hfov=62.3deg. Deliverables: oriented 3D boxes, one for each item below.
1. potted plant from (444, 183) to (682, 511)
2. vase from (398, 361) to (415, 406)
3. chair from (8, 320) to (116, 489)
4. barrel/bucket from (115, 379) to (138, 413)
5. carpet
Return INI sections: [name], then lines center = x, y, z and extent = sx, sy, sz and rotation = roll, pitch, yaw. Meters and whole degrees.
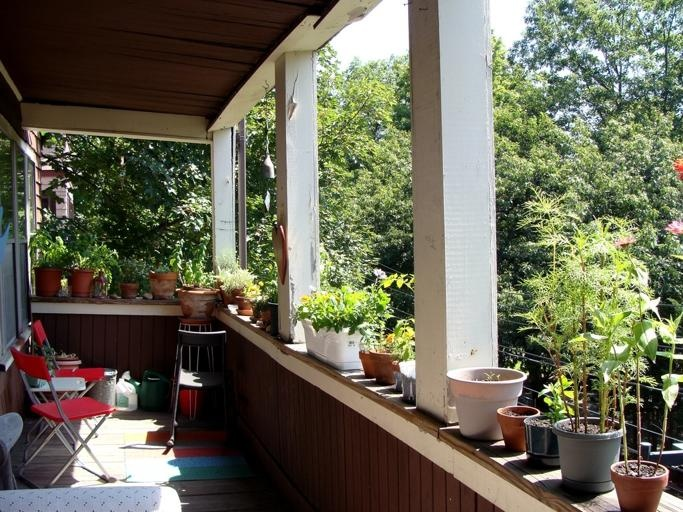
[potted plant]
center = 0.957, 0.266, 2.357
extent = 0.837, 1.430, 0.824
rotation = -1, -5, 2
[vase]
center = 0.309, 0.579, 2.621
extent = 0.068, 0.206, 0.248
rotation = -3, -14, 5
[chair]
center = -2.359, 1.251, 4.706
extent = 0.816, 1.362, 0.903
rotation = 1, 6, -18
[barrel/bucket]
center = -2.298, 1.483, 6.039
extent = 0.225, 0.350, 0.182
rotation = -4, -14, 11
[carpet]
center = -1.195, 1.652, 4.716
extent = 0.764, 0.318, 1.020
rotation = 3, -15, -19
